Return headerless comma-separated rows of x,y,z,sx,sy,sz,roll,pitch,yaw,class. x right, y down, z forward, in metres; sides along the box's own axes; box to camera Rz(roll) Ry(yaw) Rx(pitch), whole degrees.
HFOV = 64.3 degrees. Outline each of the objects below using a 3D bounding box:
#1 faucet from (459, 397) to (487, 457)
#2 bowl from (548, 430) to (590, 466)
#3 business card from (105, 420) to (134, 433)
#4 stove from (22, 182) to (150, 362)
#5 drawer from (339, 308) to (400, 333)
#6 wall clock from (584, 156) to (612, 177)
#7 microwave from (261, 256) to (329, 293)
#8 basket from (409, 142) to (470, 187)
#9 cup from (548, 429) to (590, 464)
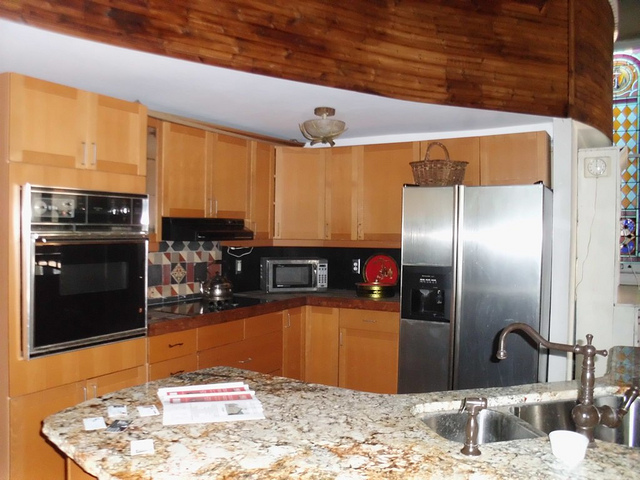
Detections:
0.619,0.728,2.047,0.088,0.204,0.199,4,8,19,faucet
0.951,0.790,1.953,0.121,0.091,0.127,3,-9,0,bowl
-0.839,0.777,2.134,0.084,0.010,0.099,1,7,2,business card
-1.739,0.187,3.493,0.807,1.057,0.912,0,0,26,stove
0.442,0.726,4.645,0.570,0.202,0.036,4,8,24,drawer
2.416,-0.638,4.416,0.191,0.174,0.019,2,2,23,wall clock
-0.170,0.389,5.251,0.652,0.360,0.402,-2,-6,20,microwave
0.988,-0.626,4.253,0.470,0.334,0.443,-2,3,-15,basket
0.950,0.786,1.964,0.119,0.090,0.127,1,-9,0,cup
